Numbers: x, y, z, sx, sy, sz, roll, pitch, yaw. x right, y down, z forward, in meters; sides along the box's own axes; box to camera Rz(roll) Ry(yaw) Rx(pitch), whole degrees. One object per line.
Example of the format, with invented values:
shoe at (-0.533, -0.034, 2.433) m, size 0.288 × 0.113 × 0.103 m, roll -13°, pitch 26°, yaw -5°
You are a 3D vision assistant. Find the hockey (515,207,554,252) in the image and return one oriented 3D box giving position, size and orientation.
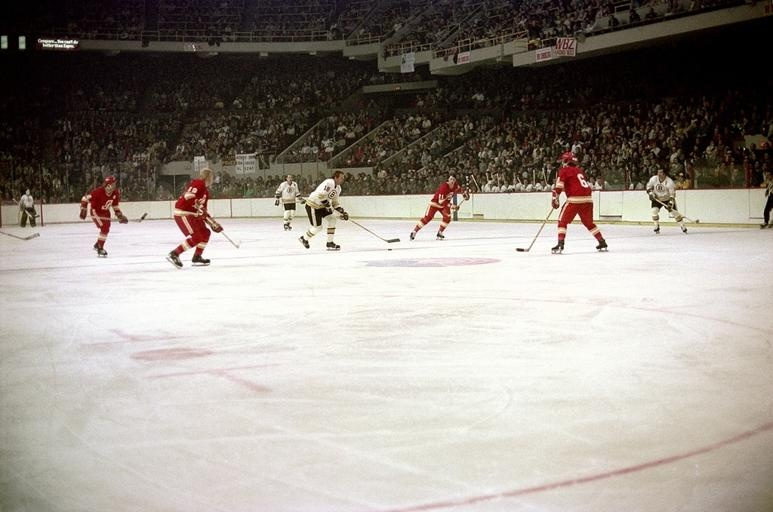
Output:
hockey at (5.119, -0.954, 21.039) m, size 0.468 × 0.120 × 2.389 m, roll 19°, pitch -30°, yaw 3°

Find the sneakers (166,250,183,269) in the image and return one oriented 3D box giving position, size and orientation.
sneakers at (-4.362, 0.068, 12.802) m, size 0.179 × 0.400 × 0.152 m, roll -41°, pitch 19°, yaw 6°

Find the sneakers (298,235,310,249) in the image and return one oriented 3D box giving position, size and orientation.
sneakers at (-2.228, -0.391, 16.936) m, size 0.178 × 0.447 × 0.154 m, roll -35°, pitch -11°, yaw 12°

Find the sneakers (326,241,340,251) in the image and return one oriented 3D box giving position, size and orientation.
sneakers at (-1.412, -0.282, 16.237) m, size 0.424 × 0.233 × 0.167 m, roll -2°, pitch 4°, yaw 20°

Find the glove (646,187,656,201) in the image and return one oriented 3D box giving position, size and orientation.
glove at (8.228, -1.942, 19.129) m, size 0.233 × 0.360 × 0.423 m, roll 2°, pitch 10°, yaw 27°

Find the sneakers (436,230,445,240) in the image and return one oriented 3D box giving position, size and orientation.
sneakers at (1.680, -0.686, 18.979) m, size 0.257 × 0.290 × 0.614 m, roll -1°, pitch 9°, yaw 5°

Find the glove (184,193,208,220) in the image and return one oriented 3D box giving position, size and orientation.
glove at (-3.811, -1.021, 12.478) m, size 0.442 × 0.420 × 0.196 m, roll 21°, pitch -9°, yaw -26°

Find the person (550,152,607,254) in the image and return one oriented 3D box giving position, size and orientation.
person at (4.309, -1.218, 14.191) m, size 1.364 × 2.264 × 0.789 m, roll -5°, pitch 10°, yaw -16°
